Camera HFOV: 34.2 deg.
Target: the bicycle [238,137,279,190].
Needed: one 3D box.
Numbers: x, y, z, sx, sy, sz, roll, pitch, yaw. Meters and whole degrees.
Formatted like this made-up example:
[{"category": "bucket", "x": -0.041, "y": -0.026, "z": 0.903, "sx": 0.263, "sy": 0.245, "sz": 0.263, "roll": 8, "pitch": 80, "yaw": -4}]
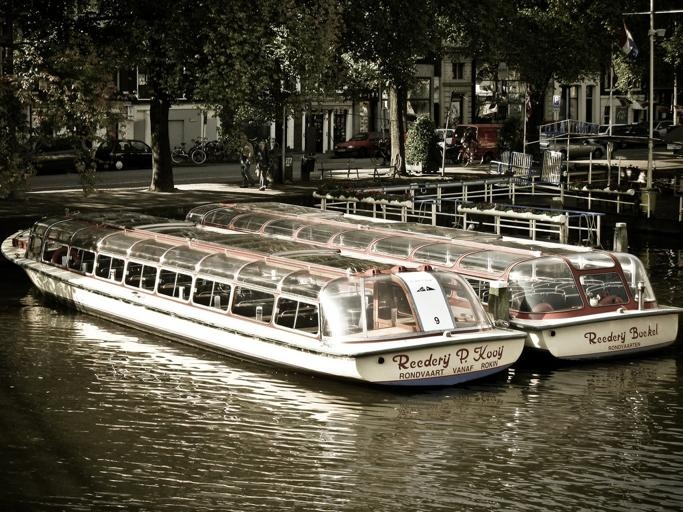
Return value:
[{"category": "bicycle", "x": -2.876, "y": -3.314, "z": 40.093, "sx": 1.294, "sy": 2.011, "sz": 1.216, "roll": -7, "pitch": 15, "yaw": -43}]
